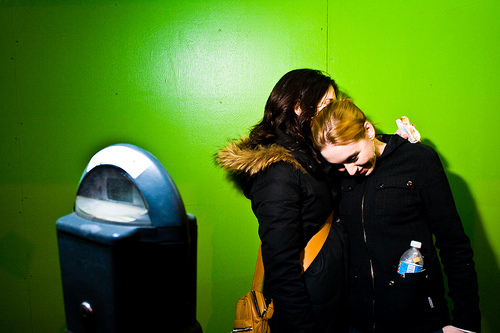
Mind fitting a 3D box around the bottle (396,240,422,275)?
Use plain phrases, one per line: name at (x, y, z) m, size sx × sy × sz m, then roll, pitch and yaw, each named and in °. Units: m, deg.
bottle at (1.005, 0.573, 2.618) m, size 0.126 × 0.221 × 0.125 m, roll 12°, pitch 4°, yaw -1°
